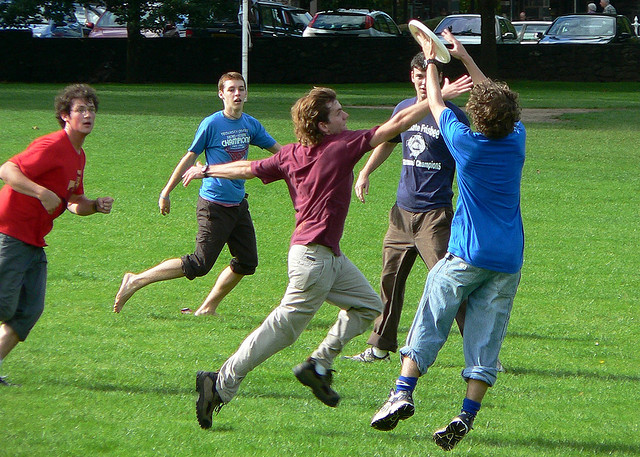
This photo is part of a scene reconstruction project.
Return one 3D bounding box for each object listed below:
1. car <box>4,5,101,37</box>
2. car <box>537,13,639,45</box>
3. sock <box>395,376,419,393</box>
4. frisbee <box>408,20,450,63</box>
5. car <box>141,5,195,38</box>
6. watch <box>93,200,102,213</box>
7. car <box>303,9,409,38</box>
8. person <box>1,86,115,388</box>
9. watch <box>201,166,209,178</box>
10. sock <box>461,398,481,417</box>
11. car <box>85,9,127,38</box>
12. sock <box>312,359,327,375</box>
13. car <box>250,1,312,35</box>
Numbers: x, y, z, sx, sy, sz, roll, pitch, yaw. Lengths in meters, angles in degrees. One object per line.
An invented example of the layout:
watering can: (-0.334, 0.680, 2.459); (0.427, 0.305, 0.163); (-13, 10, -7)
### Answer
car: (-8.977, -7.070, 28.900); (1.494, 1.231, 2.774); (20, 28, 36)
car: (9.364, -6.910, 29.236); (3.512, 1.112, 1.718); (0, 10, -9)
sock: (0.693, 1.191, 6.449); (0.122, 0.134, 0.149); (24, -24, -39)
frisbee: (0.931, -1.576, 7.116); (0.410, 0.339, 0.360); (6, 11, 20)
car: (-5.041, -6.752, 28.004); (1.672, 0.865, 5.481); (0, 10, -11)
watch: (-2.020, -0.194, 7.579); (0.048, 0.100, 0.105); (-1, 11, -14)
car: (1.330, -6.935, 29.275); (1.824, 1.040, 3.226); (4, 13, 26)
person: (-2.466, 0.027, 7.255); (0.865, 2.487, 1.001); (4, 11, 11)
watch: (-0.976, -0.486, 7.224); (0.073, 0.086, 0.104); (10, 26, 14)
sock: (1.148, 1.351, 6.365); (0.120, 0.093, 0.131); (12, -14, 27)
car: (-7.218, -6.950, 28.882); (1.127, 0.750, 1.656); (1, 19, 0)
sock: (-0.002, 1.111, 6.754); (0.115, 0.113, 0.055); (2, 11, -2)
car: (-1.403, -7.279, 29.398); (2.915, 1.287, 1.595); (-9, 19, -34)
